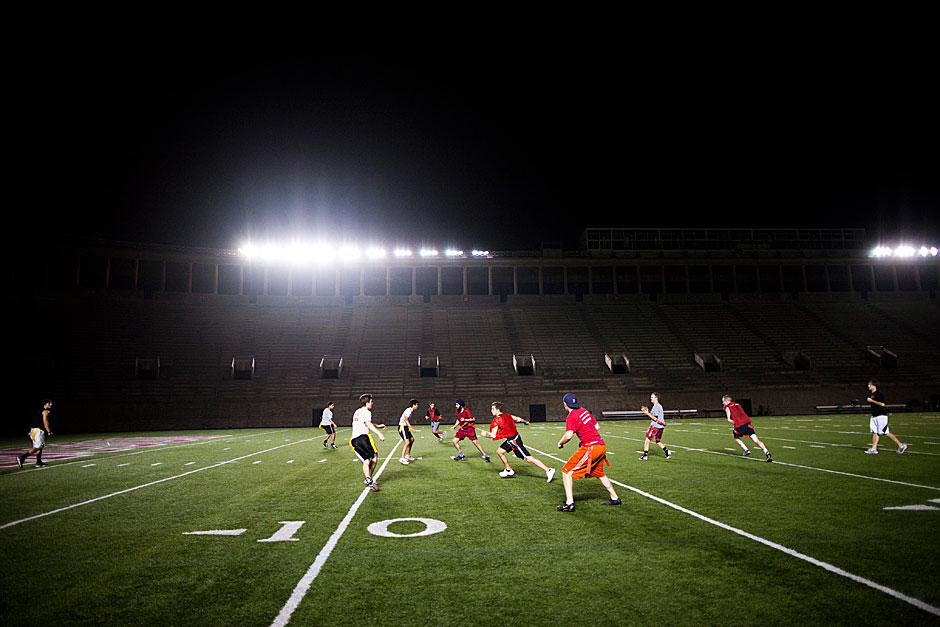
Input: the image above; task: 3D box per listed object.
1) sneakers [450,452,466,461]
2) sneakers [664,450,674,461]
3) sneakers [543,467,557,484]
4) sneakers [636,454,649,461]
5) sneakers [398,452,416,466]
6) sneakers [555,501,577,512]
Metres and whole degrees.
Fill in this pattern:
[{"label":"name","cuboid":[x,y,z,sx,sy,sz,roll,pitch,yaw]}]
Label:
[{"label":"sneakers","cuboid":[-0.399,4.256,16.346,0.173,0.174,0.495,9,-12,-44]},{"label":"sneakers","cuboid":[5.759,4.124,15.935,0.140,0.256,0.383,-18,-44,6]},{"label":"sneakers","cuboid":[1.789,3.695,12.247,0.294,0.592,0.207,7,34,7]},{"label":"sneakers","cuboid":[5.022,4.169,15.882,0.155,0.229,0.365,6,0,-12]},{"label":"sneakers","cuboid":[-1.705,4.191,15.837,0.683,0.249,0.218,13,-2,-36]},{"label":"sneakers","cuboid":[1.891,3.785,10.699,0.356,0.126,0.169,4,-18,-5]}]
